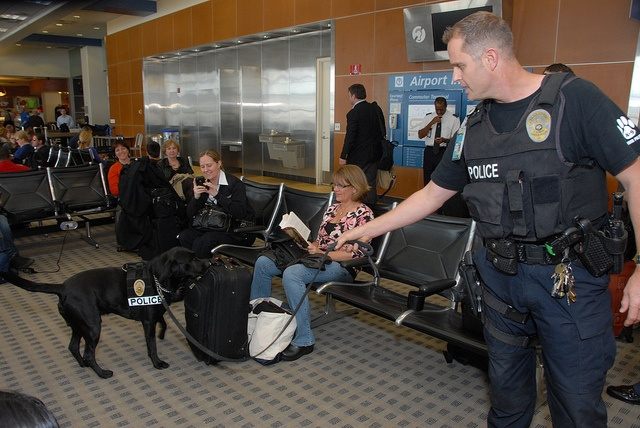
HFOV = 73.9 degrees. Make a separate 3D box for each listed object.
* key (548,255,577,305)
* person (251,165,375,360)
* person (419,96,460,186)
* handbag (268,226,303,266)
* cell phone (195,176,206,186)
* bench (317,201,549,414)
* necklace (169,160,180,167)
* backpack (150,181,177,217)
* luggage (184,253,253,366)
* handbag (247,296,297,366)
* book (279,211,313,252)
[{"bbox_3d":[1.098,0.296,1.927,0.104,0.220,0.073,1,14,14],"label":"key"},{"bbox_3d":[-0.042,0.351,3.859,1.079,1.527,0.813,0,5,-28],"label":"person"},{"bbox_3d":[2.018,-1.057,7.372,0.648,1.778,0.592,10,23,24],"label":"person"},{"bbox_3d":[-0.287,0.332,3.743,0.249,0.214,0.347,-15,19,-42],"label":"handbag"},{"bbox_3d":[-1.296,-0.362,4.656,0.096,0.086,0.130,-4,14,-6],"label":"cell phone"},{"bbox_3d":[0.852,0.664,3.307,0.867,1.167,1.993,8,2,-34],"label":"bench"},{"bbox_3d":[-2.150,-0.754,6.374,0.105,0.099,0.025,6,-24,-26],"label":"necklace"},{"bbox_3d":[-1.979,-0.185,5.382,0.274,0.483,0.383,2,12,28],"label":"backpack"},{"bbox_3d":[-0.875,0.759,3.543,0.419,0.776,0.557,-1,10,-39],"label":"luggage"},{"bbox_3d":[-0.453,0.909,3.741,0.432,0.608,0.618,3,-1,-18],"label":"handbag"},{"bbox_3d":[-0.208,0.164,3.747,0.120,0.334,0.258,-32,45,17],"label":"book"}]
